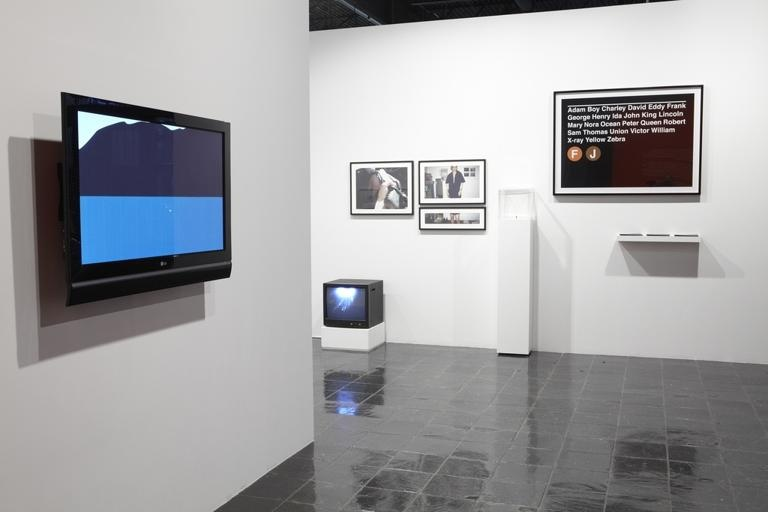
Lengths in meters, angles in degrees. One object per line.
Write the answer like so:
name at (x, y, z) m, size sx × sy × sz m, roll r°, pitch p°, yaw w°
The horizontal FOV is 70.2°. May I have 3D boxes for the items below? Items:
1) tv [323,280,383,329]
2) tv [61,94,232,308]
tv at (-0.409, 0.643, 7.337) m, size 0.778 × 0.581 × 0.754 m, roll 1°, pitch 1°, yaw 32°
tv at (-1.253, -0.308, 2.983) m, size 0.098 × 0.958 × 1.126 m, roll 4°, pitch 7°, yaw 22°
